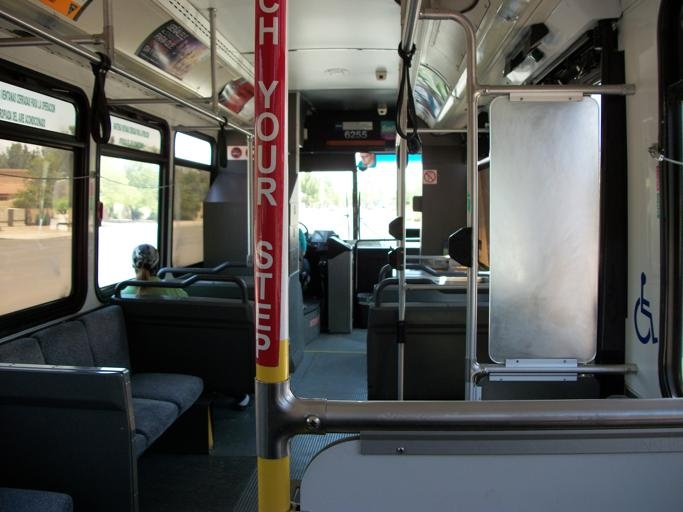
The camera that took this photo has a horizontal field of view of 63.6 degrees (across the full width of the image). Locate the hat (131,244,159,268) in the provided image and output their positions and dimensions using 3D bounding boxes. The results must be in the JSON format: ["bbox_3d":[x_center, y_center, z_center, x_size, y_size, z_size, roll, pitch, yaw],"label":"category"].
[{"bbox_3d":[-1.875,-0.001,5.294,0.177,0.227,0.236,0,9,-4],"label":"hat"}]

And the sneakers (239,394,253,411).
[{"bbox_3d":[-0.902,1.378,5.169,0.139,0.089,0.215,1,-5,-5],"label":"sneakers"}]

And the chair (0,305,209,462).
[{"bbox_3d":[-1.718,0.537,4.361,0.879,1.165,1.653,-1,1,6],"label":"chair"}]

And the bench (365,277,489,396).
[{"bbox_3d":[0.732,0.671,5.203,0.928,0.944,1.295,-1,0,1],"label":"bench"}]
